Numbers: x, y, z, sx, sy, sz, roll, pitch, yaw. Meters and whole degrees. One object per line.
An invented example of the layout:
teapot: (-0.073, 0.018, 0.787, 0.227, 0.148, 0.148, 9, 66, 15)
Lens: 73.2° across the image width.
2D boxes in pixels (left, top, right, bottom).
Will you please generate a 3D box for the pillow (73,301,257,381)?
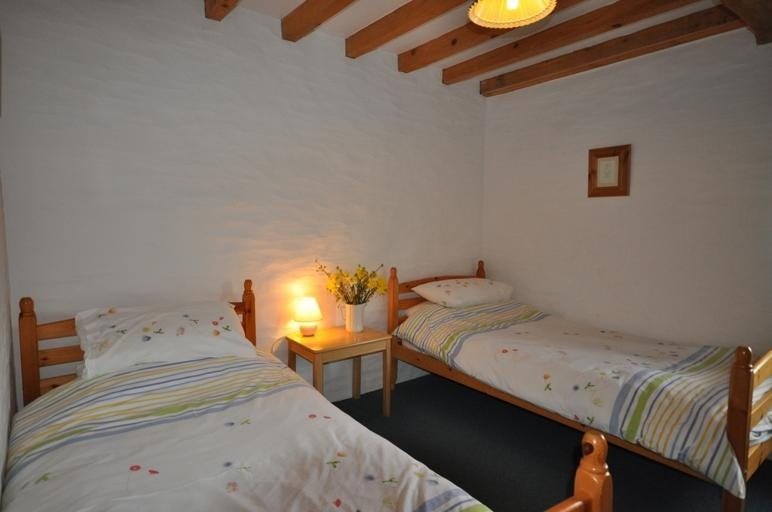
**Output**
pillow: (-1.473, 0.531, 3.417, 0.770, 0.132, 0.574, -1, 29, -35)

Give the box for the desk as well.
desk: (-0.399, 1.031, 4.432, 0.781, 0.709, 0.594, -3, 6, -31)

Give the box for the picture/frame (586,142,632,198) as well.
picture/frame: (2.007, -0.763, 4.597, 0.044, 0.625, 0.505, -6, 8, -40)

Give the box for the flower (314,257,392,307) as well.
flower: (-0.273, 0.227, 4.443, 0.442, 0.288, 0.440, -1, -2, -31)

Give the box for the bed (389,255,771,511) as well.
bed: (1.410, 0.877, 4.031, 1.471, 1.045, 2.383, -8, 13, -36)

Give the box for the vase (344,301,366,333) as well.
vase: (-0.264, 0.534, 4.420, 0.241, 0.218, 0.166, 0, 3, -2)
